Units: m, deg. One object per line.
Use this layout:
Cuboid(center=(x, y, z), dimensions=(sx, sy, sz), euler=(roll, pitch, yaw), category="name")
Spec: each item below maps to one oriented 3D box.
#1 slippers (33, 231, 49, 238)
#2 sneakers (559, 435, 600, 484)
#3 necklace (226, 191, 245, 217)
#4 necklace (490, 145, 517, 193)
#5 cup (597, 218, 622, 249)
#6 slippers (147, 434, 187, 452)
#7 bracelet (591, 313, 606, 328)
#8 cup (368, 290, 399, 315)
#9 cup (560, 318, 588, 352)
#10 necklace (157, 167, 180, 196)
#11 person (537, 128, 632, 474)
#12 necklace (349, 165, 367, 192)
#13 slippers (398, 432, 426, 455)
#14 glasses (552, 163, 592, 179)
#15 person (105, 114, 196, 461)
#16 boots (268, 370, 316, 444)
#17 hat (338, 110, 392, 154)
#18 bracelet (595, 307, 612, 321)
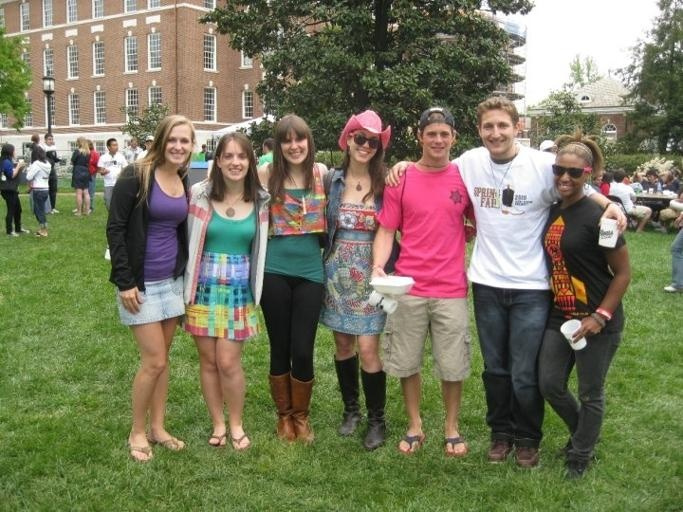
Cuboid(center=(-6.455, -0.459, 13.571), dimensions=(0.314, 0.148, 0.176), euler=(5, 8, 5), category="slippers")
Cuboid(center=(1.935, 1.673, 5.163), dimensions=(0.233, 0.347, 0.112), euler=(30, -5, -17), category="sneakers")
Cuboid(center=(-0.924, -0.437, 5.448), dimensions=(0.188, 0.206, 0.057), euler=(1, -6, -13), category="necklace")
Cuboid(center=(1.326, -0.708, 5.244), dimensions=(0.222, 0.322, 0.168), euler=(-3, -15, 36), category="necklace")
Cuboid(center=(2.036, -0.167, 4.924), dimensions=(0.186, 0.222, 0.192), euler=(11, -2, 0), category="cup")
Cuboid(center=(-1.524, 1.619, 5.490), dimensions=(0.235, 0.101, 0.139), euler=(4, 13, 2), category="slippers")
Cuboid(center=(1.989, 0.488, 4.937), dimensions=(0.099, 0.042, 0.113), euler=(41, -1, -29), category="bracelet")
Cuboid(center=(0.333, 0.370, 5.196), dimensions=(0.208, 0.204, 0.154), euler=(4, 14, 15), category="cup")
Cuboid(center=(1.812, 0.618, 4.968), dimensions=(0.174, 0.233, 0.164), euler=(0, 14, 0), category="cup")
Cuboid(center=(-1.452, -0.619, 5.262), dimensions=(0.115, 0.226, 0.207), euler=(-7, 1, 42), category="necklace")
Cuboid(center=(1.925, 0.400, 5.129), dimensions=(0.670, 2.659, 0.674), euler=(9, 16, 32), category="person")
Cuboid(center=(0.138, -0.670, 5.568), dimensions=(0.149, 0.221, 0.068), euler=(-7, -4, 1), category="necklace")
Cuboid(center=(0.608, 1.647, 5.554), dimensions=(0.101, 0.100, 0.266), euler=(-6, -1, 39), category="slippers")
Cuboid(center=(1.815, -0.672, 5.018), dimensions=(0.275, 0.106, 0.126), euler=(4, 14, 12), category="glasses")
Cuboid(center=(-1.536, 0.266, 5.309), dimensions=(0.766, 2.799, 0.521), euler=(-9, 16, -35), category="person")
Cuboid(center=(-0.464, 1.343, 5.797), dimensions=(0.500, 0.743, 0.509), euler=(0, 0, -19), category="boots")
Cuboid(center=(0.192, -1.159, 5.724), dimensions=(0.325, 0.199, 0.432), euler=(5, -26, -3), category="hat")
Cuboid(center=(2.033, 0.453, 4.914), dimensions=(0.092, 0.038, 0.099), euler=(-1, 19, 8), category="bracelet")
